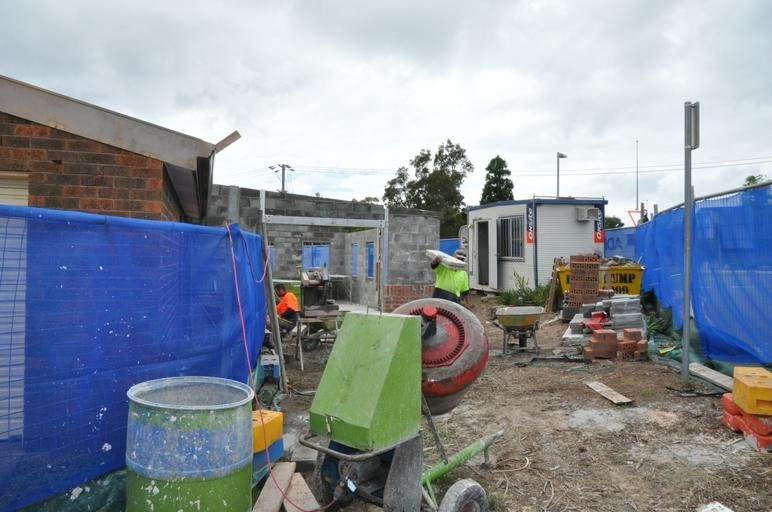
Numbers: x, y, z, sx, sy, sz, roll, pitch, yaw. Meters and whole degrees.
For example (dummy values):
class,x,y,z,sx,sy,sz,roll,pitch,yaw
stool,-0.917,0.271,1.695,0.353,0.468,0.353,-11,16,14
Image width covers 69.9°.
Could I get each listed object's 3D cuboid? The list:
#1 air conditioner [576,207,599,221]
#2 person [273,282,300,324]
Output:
class,x,y,z,sx,sy,sz,roll,pitch,yaw
air conditioner,5.738,-1.219,15.884,0.632,0.467,0.361,0,-3,-10
person,-2.031,0.975,11.227,0.398,0.713,0.846,-7,9,-12
